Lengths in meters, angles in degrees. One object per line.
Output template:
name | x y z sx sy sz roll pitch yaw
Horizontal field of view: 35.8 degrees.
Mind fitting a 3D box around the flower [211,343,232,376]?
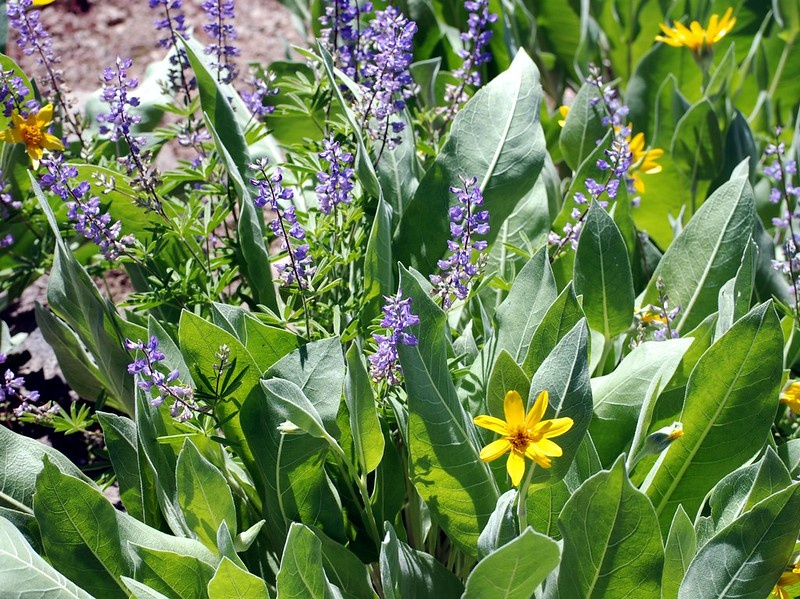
flower | -0.336 0.108 2.317 0.030 0.044 0.064 10 6 -5

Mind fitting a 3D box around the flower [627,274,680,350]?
flower | 0.533 0.033 2.584 0.108 0.184 0.150 -1 45 7

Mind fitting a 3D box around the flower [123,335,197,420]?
flower | -0.452 0.145 2.349 0.067 0.123 0.072 -24 21 29

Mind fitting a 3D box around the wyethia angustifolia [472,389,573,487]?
wyethia angustifolia | 0.225 0.245 2.184 0.147 0.039 0.136 -57 34 16

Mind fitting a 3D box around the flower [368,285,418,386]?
flower | -0.011 0.070 2.298 0.070 0.147 0.078 24 52 16
